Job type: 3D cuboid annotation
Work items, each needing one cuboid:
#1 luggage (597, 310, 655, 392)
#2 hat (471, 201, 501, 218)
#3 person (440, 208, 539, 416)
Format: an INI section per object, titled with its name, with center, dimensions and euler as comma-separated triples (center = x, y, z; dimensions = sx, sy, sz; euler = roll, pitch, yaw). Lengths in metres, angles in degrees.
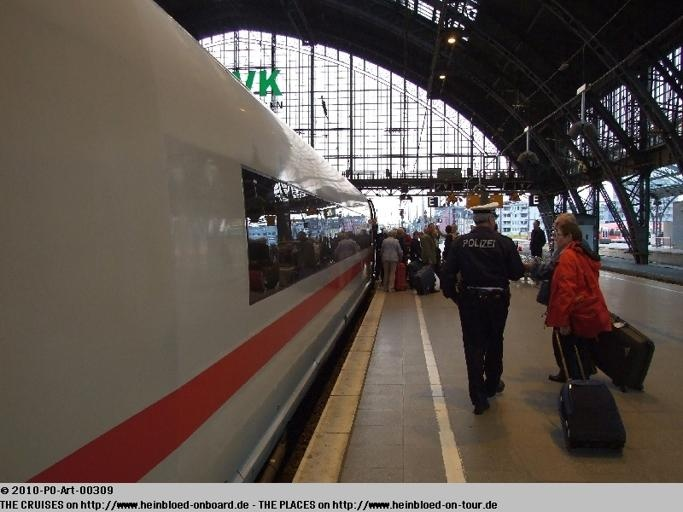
[luggage]
center = 3.102, 1.067, 5.087
dimensions = 0.226, 0.716, 0.681
euler = -11, 24, -19
[hat]
center = 1.434, -0.449, 4.649
dimensions = 0.199, 0.092, 0.166
euler = -12, 5, -33
[person]
center = 1.391, 0.521, 4.625
dimensions = 0.771, 2.041, 0.394
euler = 0, 2, 7
